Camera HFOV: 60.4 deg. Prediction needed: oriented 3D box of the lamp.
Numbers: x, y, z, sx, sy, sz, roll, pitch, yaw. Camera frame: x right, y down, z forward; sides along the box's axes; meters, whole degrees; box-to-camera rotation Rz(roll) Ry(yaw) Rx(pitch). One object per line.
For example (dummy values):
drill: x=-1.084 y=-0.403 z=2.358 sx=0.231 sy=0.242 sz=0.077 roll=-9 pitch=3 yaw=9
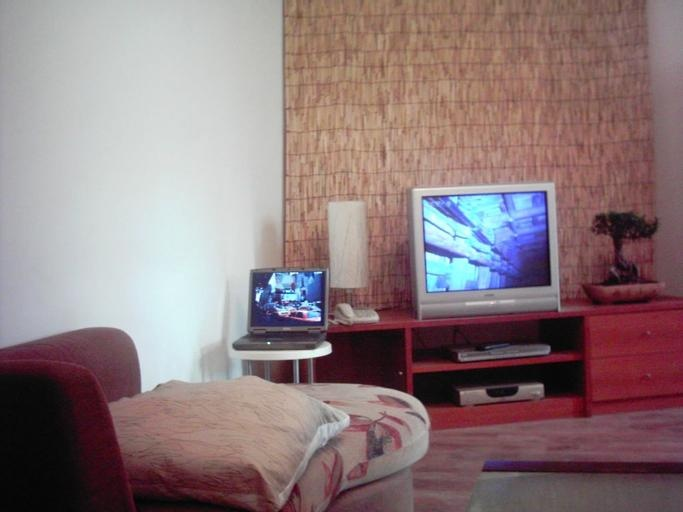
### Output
lamp: x=0.030 y=-0.067 z=3.454 sx=0.237 sy=0.514 sz=0.114 roll=-3 pitch=3 yaw=7

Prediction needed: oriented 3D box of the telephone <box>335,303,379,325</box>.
telephone: x=0.079 y=0.318 z=3.386 sx=0.247 sy=0.103 sz=0.296 roll=-4 pitch=3 yaw=-4

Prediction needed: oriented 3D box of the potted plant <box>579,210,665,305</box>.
potted plant: x=1.704 y=-0.004 z=3.674 sx=0.446 sy=0.546 sz=0.501 roll=-3 pitch=3 yaw=9

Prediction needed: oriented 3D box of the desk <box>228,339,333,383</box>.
desk: x=-0.331 y=0.569 z=3.006 sx=0.366 sy=0.291 sz=0.381 roll=4 pitch=-4 yaw=36

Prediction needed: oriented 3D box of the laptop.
laptop: x=-0.318 y=0.262 z=3.031 sx=0.481 sy=0.397 sz=0.440 roll=-1 pitch=-2 yaw=-6
